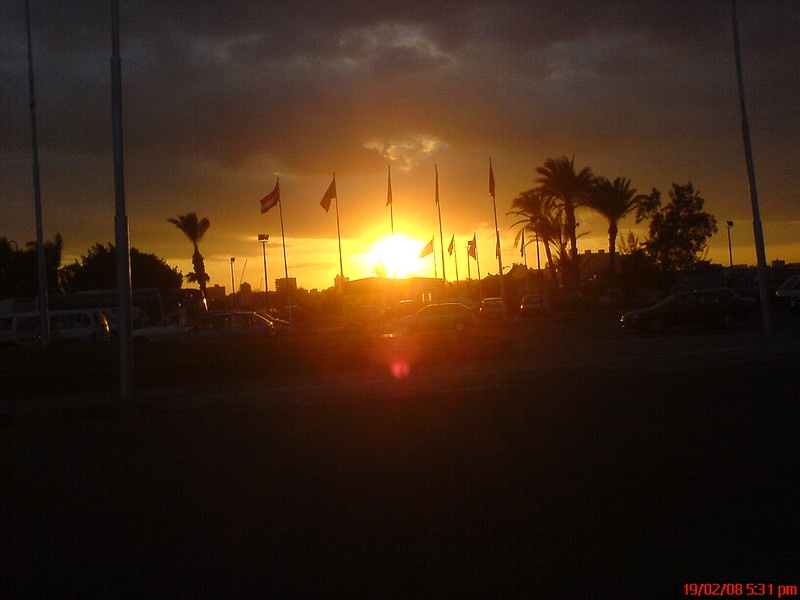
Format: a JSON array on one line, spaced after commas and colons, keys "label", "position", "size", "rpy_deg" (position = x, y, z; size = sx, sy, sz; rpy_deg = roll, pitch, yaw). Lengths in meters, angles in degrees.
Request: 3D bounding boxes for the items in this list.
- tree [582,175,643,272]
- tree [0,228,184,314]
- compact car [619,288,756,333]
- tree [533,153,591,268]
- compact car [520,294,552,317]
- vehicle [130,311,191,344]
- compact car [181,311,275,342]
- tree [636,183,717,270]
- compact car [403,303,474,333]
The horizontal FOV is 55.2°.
[{"label": "tree", "position": [13.264, -4.804, 47.866], "size": [2.878, 6.172, 7.490], "rpy_deg": [3, 12, 20]}, {"label": "tree", "position": [-15.090, -0.977, 35.692], "size": [10.440, 3.526, 3.383], "rpy_deg": [-1, 4, 20]}, {"label": "compact car", "position": [9.994, 0.358, 26.102], "size": [3.996, 1.340, 0.655], "rpy_deg": [0, 10, 4]}, {"label": "tree", "position": [9.788, -5.251, 45.013], "size": [2.481, 6.285, 3.014], "rpy_deg": [6, 12, 34]}, {"label": "compact car", "position": [7.597, 0.301, 43.032], "size": [0.882, 0.911, 1.773], "rpy_deg": [0, 10, 16]}, {"label": "vehicle", "position": [-8.194, 0.915, 26.208], "size": [1.189, 0.665, 0.807], "rpy_deg": [-11, 14, -10]}, {"label": "compact car", "position": [-5.467, 0.822, 25.169], "size": [2.291, 0.971, 1.171], "rpy_deg": [2, -2, -8]}, {"label": "tree", "position": [18.122, -4.654, 50.042], "size": [4.815, 7.373, 4.814], "rpy_deg": [3, 12, 15]}, {"label": "compact car", "position": [1.522, 0.643, 28.430], "size": [2.200, 0.983, 1.111], "rpy_deg": [0, -3, -15]}]
